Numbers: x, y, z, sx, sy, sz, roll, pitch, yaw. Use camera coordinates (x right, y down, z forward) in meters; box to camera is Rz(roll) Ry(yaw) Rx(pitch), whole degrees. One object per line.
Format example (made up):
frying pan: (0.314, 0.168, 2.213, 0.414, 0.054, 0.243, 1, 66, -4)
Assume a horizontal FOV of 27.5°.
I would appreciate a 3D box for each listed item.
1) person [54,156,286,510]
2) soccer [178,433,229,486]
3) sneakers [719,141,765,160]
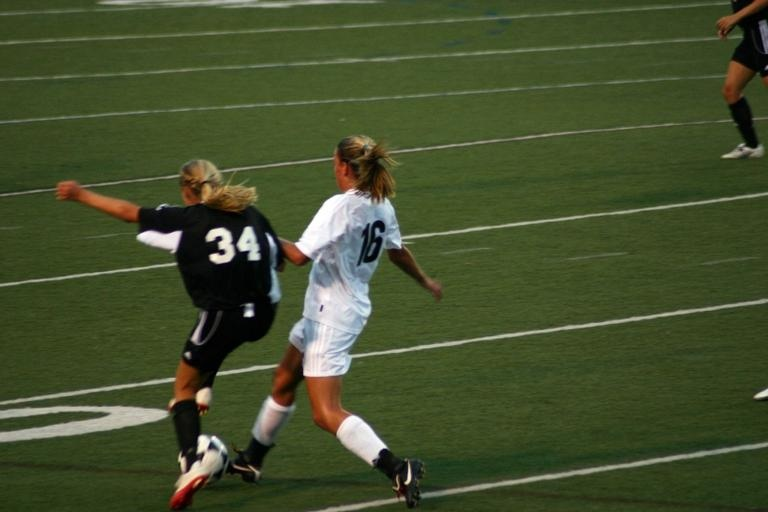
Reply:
person: (-1.811, 0.747, 15.279, 1.416, 3.314, 0.952, -14, 14, -37)
soccer: (-1.709, 1.957, 15.147, 0.367, 0.405, 0.221, -2, 0, -26)
sneakers: (4.782, -1.363, 20.904, 0.690, 0.165, 0.191, 0, 13, 3)
